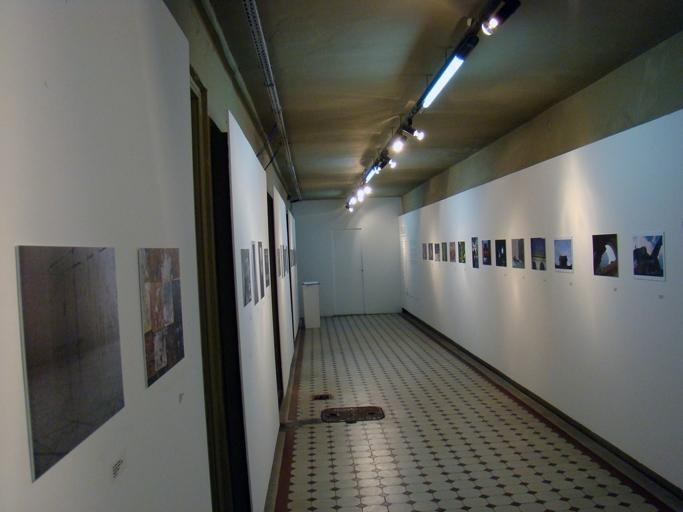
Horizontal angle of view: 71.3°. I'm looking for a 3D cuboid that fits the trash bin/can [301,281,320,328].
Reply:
[{"bbox_3d":[-0.734,1.257,11.433,0.357,1.010,0.207,-3,3,-1],"label":"trash bin/can"}]
